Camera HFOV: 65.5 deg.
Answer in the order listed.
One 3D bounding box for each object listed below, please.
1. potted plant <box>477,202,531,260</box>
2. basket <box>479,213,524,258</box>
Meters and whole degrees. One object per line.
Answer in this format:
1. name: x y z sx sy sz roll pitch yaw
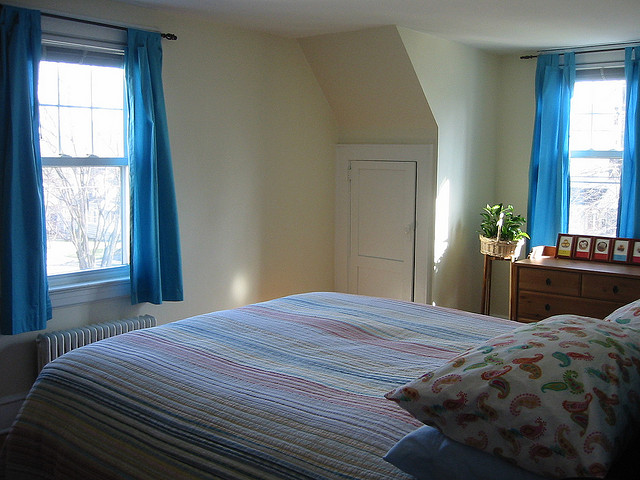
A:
1. potted plant: 1.546 -0.072 4.287 0.446 0.434 0.343 6 1 37
2. basket: 1.512 -0.077 4.269 0.365 0.441 0.353 1 11 0
